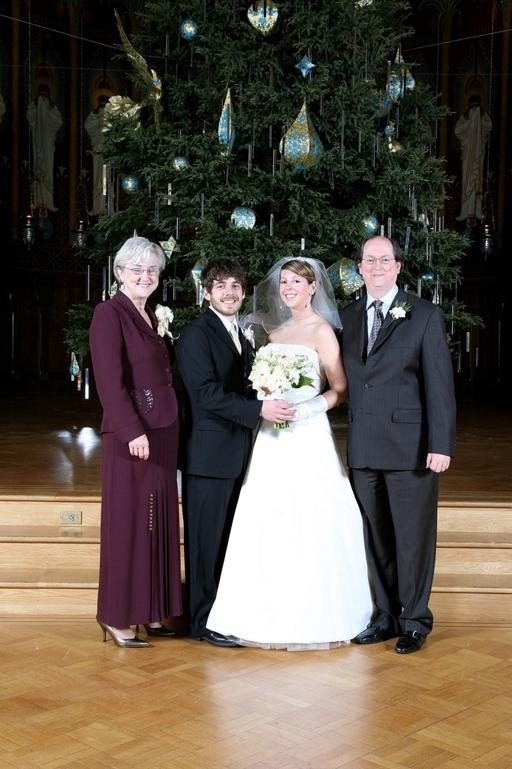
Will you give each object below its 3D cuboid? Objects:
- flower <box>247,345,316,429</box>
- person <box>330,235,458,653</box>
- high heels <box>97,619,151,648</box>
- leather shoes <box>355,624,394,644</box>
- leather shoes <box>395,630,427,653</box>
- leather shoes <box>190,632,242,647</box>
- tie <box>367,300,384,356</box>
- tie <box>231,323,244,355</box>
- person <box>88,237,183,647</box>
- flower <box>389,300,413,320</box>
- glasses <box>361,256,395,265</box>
[{"bbox_3d":[0.075,-0.010,2.577,0.318,0.304,0.306,-4,11,-3],"label":"flower"},{"bbox_3d":[0.528,0.224,2.629,0.414,1.538,0.290,0,-3,6],"label":"person"},{"bbox_3d":[-0.486,0.951,2.622,0.247,0.100,0.081,1,-4,13],"label":"high heels"},{"bbox_3d":[0.454,0.965,2.645,0.156,0.059,0.056,2,-3,-30],"label":"leather shoes"},{"bbox_3d":[0.564,0.951,2.557,0.051,0.051,0.137,-1,-6,28],"label":"leather shoes"},{"bbox_3d":[-0.156,0.967,2.671,0.185,0.074,0.063,-1,-3,28],"label":"leather shoes"},{"bbox_3d":[0.463,-0.218,2.634,0.045,0.230,0.033,4,-22,26],"label":"tie"},{"bbox_3d":[-0.076,-0.178,2.740,0.034,0.136,0.018,11,-42,-26],"label":"tie"},{"bbox_3d":[-0.458,0.182,2.552,0.266,1.426,0.299,-1,-3,24],"label":"person"},{"bbox_3d":[0.531,-0.282,2.564,0.068,0.033,0.069,-32,46,-19],"label":"flower"},{"bbox_3d":[0.444,-0.457,2.566,0.112,0.037,0.038,-1,-3,18],"label":"glasses"}]
